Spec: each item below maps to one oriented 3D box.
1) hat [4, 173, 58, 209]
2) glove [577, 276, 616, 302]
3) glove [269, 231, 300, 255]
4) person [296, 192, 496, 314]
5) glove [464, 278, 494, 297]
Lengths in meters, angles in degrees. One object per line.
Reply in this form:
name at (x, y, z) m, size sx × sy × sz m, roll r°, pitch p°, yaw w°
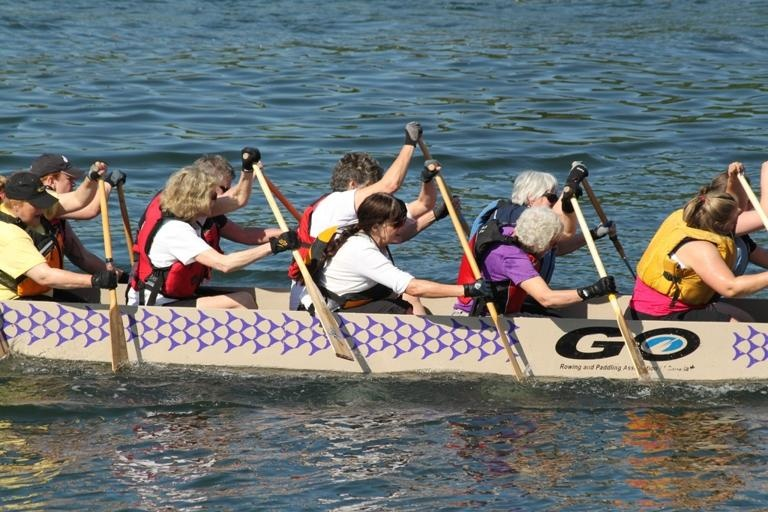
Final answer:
hat at (-3.827, -0.684, 10.832) m, size 0.535 × 0.361 × 0.328 m, roll 17°, pitch 29°, yaw 24°
glove at (2.194, 0.340, 10.376) m, size 0.371 × 0.276 × 0.237 m, roll -17°, pitch 36°, yaw -39°
glove at (-1.062, -0.137, 10.737) m, size 0.336 × 0.255 × 0.270 m, roll 4°, pitch 26°, yaw -4°
person at (0.072, 0.065, 10.660) m, size 1.734 × 1.494 × 0.627 m, roll 13°, pitch 31°, yaw 15°
glove at (0.968, 0.352, 10.478) m, size 0.322 × 0.218 × 0.146 m, roll 6°, pitch 29°, yaw 2°
